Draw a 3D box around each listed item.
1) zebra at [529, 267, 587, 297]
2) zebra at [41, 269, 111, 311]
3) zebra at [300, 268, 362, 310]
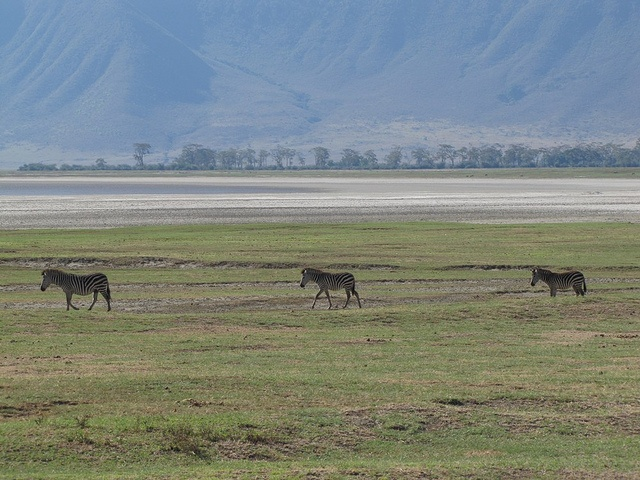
[{"bbox_3d":[10.435,1.866,51.230,1.978,1.174,2.131,-11,12,-42],"label":"zebra"},{"bbox_3d":[-10.061,2.099,48.972,3.598,1.540,0.743,0,0,20],"label":"zebra"},{"bbox_3d":[0.473,2.004,49.489,2.904,1.345,0.661,0,-3,28],"label":"zebra"}]
